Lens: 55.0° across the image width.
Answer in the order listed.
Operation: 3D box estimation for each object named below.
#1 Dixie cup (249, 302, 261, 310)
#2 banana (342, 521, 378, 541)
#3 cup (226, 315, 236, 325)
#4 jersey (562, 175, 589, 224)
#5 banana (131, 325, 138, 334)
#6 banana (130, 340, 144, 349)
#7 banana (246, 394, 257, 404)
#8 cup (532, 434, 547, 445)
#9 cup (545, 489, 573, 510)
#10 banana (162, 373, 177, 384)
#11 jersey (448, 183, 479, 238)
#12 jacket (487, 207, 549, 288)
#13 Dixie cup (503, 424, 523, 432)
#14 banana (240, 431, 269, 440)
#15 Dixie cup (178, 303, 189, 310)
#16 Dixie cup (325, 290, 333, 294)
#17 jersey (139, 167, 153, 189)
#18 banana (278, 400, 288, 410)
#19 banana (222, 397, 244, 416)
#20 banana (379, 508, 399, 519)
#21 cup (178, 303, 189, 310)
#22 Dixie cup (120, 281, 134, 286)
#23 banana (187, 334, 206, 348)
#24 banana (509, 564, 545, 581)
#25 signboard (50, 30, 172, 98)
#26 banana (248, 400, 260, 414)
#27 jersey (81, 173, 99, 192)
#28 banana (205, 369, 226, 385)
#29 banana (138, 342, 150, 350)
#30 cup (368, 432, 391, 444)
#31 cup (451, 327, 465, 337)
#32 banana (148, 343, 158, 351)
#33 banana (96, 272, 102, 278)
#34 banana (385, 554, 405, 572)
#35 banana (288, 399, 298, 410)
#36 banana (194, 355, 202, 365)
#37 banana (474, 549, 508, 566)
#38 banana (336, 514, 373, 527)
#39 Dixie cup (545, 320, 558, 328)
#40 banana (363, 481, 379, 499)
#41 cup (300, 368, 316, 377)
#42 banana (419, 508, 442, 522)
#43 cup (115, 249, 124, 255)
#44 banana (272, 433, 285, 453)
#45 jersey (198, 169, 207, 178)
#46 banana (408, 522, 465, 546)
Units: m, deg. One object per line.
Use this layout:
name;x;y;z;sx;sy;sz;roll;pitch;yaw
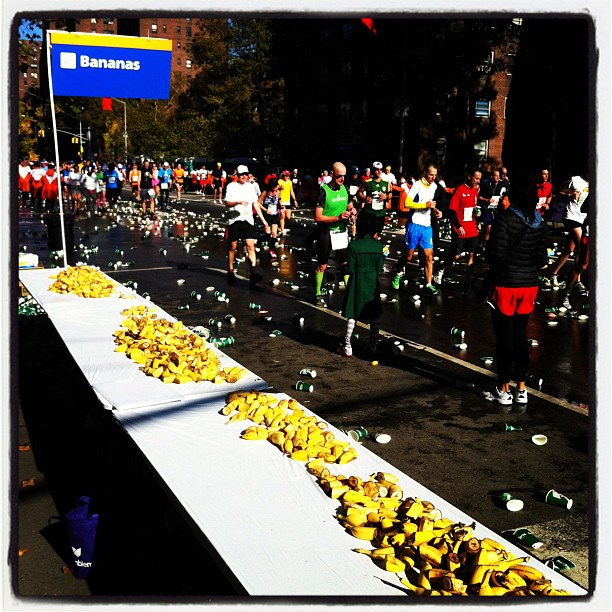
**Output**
Dixie cup;-0.974;-0.008;11.234;0.179;0.109;0.112;3;-23;-1
banana;0.280;1.157;3.016;0.126;0.050;0.055;7;-1;39
cup;-1.307;0.227;10.211;0.138;0.120;0.200;-18;19;-23
jersey;5.764;-2.253;12.466;0.464;0.985;0.450;6;17;21
banana;-1.864;0.256;6.403;0.071;0.019;0.118;-45;27;-20
banana;-1.668;0.386;5.805;0.098;0.033;0.070;-29;4;10
banana;-0.413;0.713;4.503;0.063;0.017;0.057;-24;40;-24
cup;2.259;1.283;5.658;0.134;0.106;0.158;5;15;20
cup;1.979;1.508;4.578;0.194;0.123;0.168;6;-17;23
banana;-1.161;0.625;5.031;0.080;0.055;0.137;11;18;38
jersey;3.517;-2.112;12.995;0.751;1.183;0.540;-11;19;-34
jacket;2.336;-0.641;6.459;0.664;0.883;0.316;1;16;5
Dixie cup;2.105;1.240;5.971;0.185;0.063;0.085;-1;14;-3
banana;-0.337;0.891;4.025;0.147;0.031;0.069;1;8;-20
Dixie cup;-2.310;0.016;11.088;0.197;0.093;0.100;-6;-14;19
Dixie cup;0.507;-0.306;12.723;0.125;0.047;0.162;3;-3;-32
jersey;-7.543;-6.068;27.861;0.536;1.009;1.026;-4;15;-14
banana;-0.172;0.764;4.556;0.061;0.019;0.056;-22;33;-18
banana;-0.554;0.761;4.486;0.068;0.055;0.201;18;27;13
banana;0.458;1.125;3.192;0.067;0.021;0.062;3;6;-34
cup;-2.309;0.016;11.086;0.197;0.093;0.100;-6;-13;21
Dixie cup;-3.714;-0.465;12.131;0.184;0.055;0.118;-5;1;7
banana;-1.137;0.370;6.051;0.139;0.041;0.132;31;27;18
banana;1.033;1.243;2.737;0.065;0.033;0.115;2;-5;-12
signboard;-3.307;-4.040;9.855;2.719;1.140;0.234;0;3;-8
banana;-0.394;0.758;4.417;0.049;0.025;0.101;13;44;36
jersey;-11.024;-6.305;30.008;0.845;0.953;1.735;-5;15;-17
banana;-0.777;0.613;5.120;0.165;0.076;0.272;-7;15;-27
banana;-1.595;0.392;5.786;0.108;0.036;0.112;-3;14;-13
cup;0.728;1.262;5.701;0.164;0.089;0.239;-3;14;-13
cup;2.461;0.433;9.397;0.136;0.109;0.202;27;-6;-33
banana;-1.499;0.401;5.763;0.071;0.014;0.067;16;28;38
banana;-3.411;-0.505;9.670;0.018;0.031;0.166;-40;36;-10
banana;0.417;1.213;2.759;0.067;0.020;0.060;11;2;13
banana;-0.091;0.767;4.582;0.043;0.078;0.049;6;-11;-40
banana;-0.977;0.488;5.356;0.081;0.062;0.023;-1;-12;-7
banana;0.891;1.203;2.826;0.146;0.063;0.075;4;-1;-25
banana;0.246;1.118;3.108;0.193;0.058;0.056;10;-26;30
Dixie cup;4.327;0.319;10.324;0.135;0.040;0.174;-3;13;-2
banana;0.373;1.059;3.362;0.061;0.029;0.103;-2;11;-2
cup;0.036;0.857;7.550;0.143;0.081;0.130;-1;-2;0
banana;0.669;1.125;3.147;0.102;0.044;0.086;10;-18;4
cup;-5.687;-1.644;17.897;0.180;0.188;0.416;28;0;-26
banana;-0.186;0.913;3.950;0.059;0.046;0.113;-37;25;-1
jersey;-8.845;-11.430;50.415;1.022;0.325;0.873;3;33;2
banana;0.686;1.159;3.034;0.317;0.066;0.077;-5;9;-22
